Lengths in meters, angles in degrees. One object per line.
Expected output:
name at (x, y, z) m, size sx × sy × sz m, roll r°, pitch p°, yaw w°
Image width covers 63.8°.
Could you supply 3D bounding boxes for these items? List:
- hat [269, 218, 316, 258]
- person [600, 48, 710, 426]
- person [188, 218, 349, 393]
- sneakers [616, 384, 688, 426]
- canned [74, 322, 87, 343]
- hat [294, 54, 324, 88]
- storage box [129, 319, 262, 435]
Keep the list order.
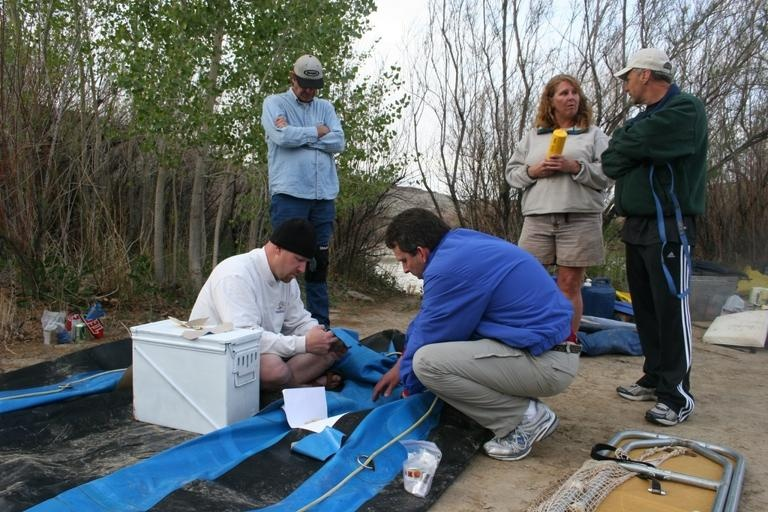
hat at (-0.841, -0.165, 5.441) m, size 0.458 × 0.374 × 0.385 m, roll 2°, pitch -7°, yaw 5°
person at (2.296, -0.181, 5.245) m, size 0.751 × 3.174 × 0.525 m, roll 1°, pitch 4°, yaw 28°
person at (-1.024, 0.359, 5.873) m, size 1.494 × 1.622 × 1.194 m, roll 7°, pitch 7°, yaw 19°
sneakers at (2.353, 1.286, 5.199) m, size 0.276 × 0.126 × 0.368 m, roll 12°, pitch 0°, yaw -13°
canned at (-3.200, 0.798, 6.494) m, size 0.110 × 0.216 × 0.068 m, roll -2°, pitch 4°, yaw -14°
hat at (-0.735, -1.880, 6.156) m, size 0.294 × 0.198 × 0.471 m, roll -5°, pitch 47°, yaw -23°
storage box at (-1.539, 0.985, 5.129) m, size 1.006 × 0.785 × 0.599 m, roll 4°, pitch 6°, yaw 21°
